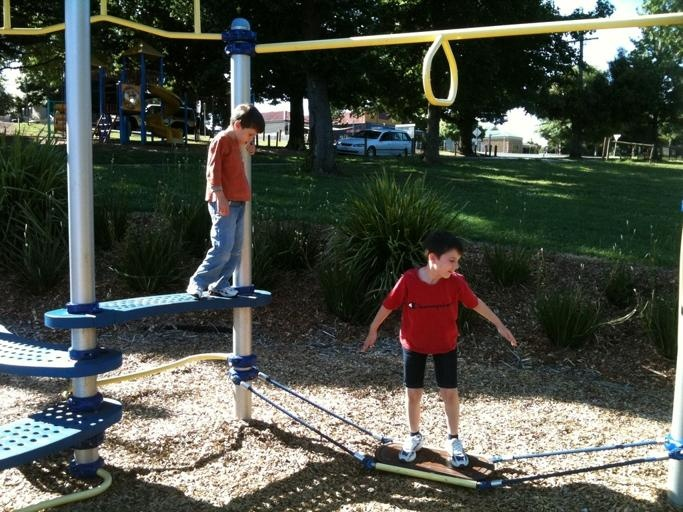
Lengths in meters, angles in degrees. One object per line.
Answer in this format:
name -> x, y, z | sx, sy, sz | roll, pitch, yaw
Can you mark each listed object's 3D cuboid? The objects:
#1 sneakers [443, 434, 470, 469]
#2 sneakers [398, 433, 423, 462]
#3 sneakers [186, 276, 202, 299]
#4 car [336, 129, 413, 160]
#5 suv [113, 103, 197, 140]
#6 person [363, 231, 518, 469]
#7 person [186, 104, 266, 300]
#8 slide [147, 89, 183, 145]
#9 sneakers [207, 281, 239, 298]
sneakers -> 0.893, 1.504, 6.337 | 0.123, 0.150, 0.375 | -3, 12, -5
sneakers -> 0.541, 1.468, 6.360 | 0.096, 0.127, 0.277 | 7, 25, 33
sneakers -> -1.142, 0.232, 6.360 | 0.124, 0.127, 0.334 | 1, 9, -11
car -> 1.394, -4.427, 32.709 | 1.334, 1.023, 2.991 | 12, 12, 40
suv -> -5.886, -4.238, 25.423 | 2.431, 1.273, 1.583 | 4, 9, -1
person -> 0.752, 0.731, 6.349 | 1.113, 2.093, 0.555 | -1, 28, 7
person -> -0.924, -0.450, 6.449 | 0.640, 1.507, 0.421 | -3, 9, -29
slide -> -5.179, -4.113, 23.713 | 1.016, 1.617, 1.716 | 0, 9, -12
sneakers -> -0.934, 0.259, 6.470 | 0.254, 0.148, 0.106 | 3, 9, 8
